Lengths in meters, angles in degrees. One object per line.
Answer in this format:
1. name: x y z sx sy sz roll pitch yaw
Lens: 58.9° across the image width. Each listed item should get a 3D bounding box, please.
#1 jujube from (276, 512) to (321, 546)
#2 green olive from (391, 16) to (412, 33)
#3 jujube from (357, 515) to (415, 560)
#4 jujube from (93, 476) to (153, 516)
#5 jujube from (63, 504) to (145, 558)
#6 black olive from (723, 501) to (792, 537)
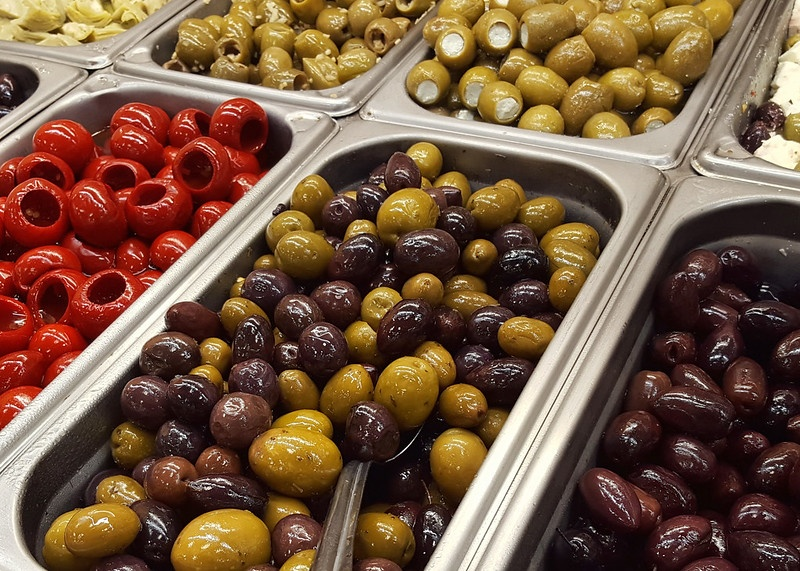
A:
1. jujube: -0.190 0.447 1.314 0.089 0.016 0.049 13 51 8
2. green olive: 0.005 -0.854 2.316 0.047 0.064 0.041 11 94 1
3. jujube: -0.026 0.475 1.296 0.101 0.086 0.088 6 47 -4
4. jujube: -0.548 0.404 1.381 0.079 0.046 0.063 31 57 8
5. jujube: -0.537 0.444 1.271 0.111 0.084 0.094 -1 85 -22
6. black olive: 0.682 0.437 1.342 0.084 0.069 0.055 -10 56 24
